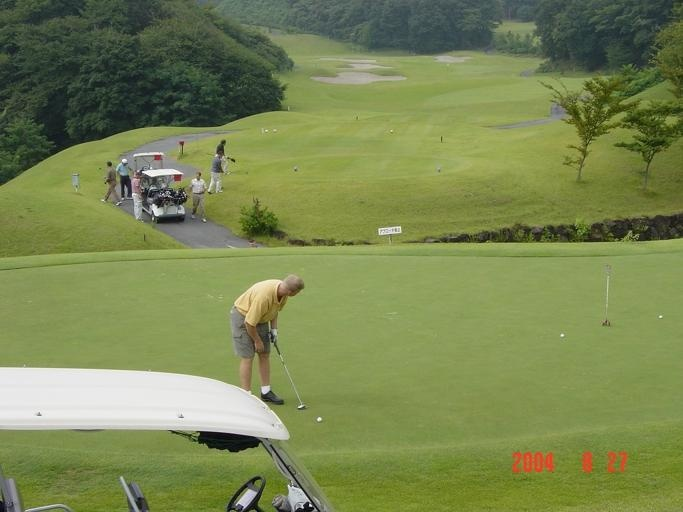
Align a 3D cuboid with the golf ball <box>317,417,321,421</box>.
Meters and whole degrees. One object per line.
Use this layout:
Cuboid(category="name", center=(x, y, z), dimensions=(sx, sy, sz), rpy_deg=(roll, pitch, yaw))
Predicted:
Cuboid(category="golf ball", center=(-0.780, 5.787, 37.694), dimensions=(0.190, 0.132, 0.126), rpy_deg=(-1, 15, 0))
